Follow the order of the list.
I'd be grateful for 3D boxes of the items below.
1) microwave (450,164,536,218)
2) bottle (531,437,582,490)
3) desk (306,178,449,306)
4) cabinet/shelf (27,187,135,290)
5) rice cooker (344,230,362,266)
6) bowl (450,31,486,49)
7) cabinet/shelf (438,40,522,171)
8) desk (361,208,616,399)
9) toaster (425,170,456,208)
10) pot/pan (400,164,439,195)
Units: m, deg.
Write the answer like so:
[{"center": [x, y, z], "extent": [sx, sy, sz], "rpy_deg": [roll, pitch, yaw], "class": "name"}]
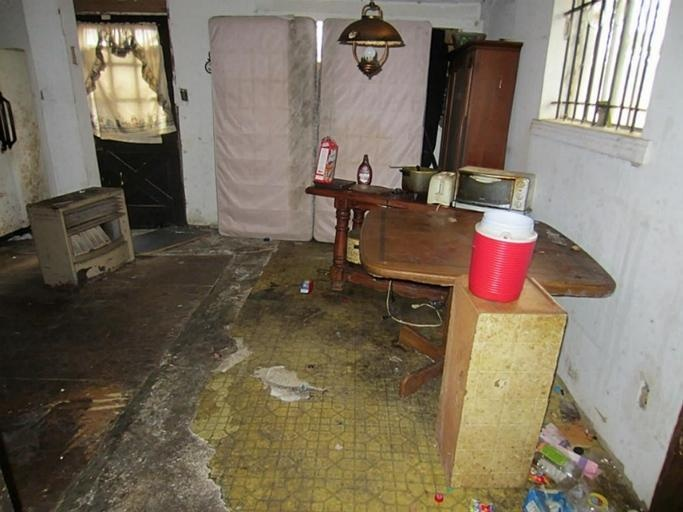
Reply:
[{"center": [1.314, -0.567, 4.180], "extent": [0.608, 0.373, 0.398], "rpy_deg": [15, 27, 29], "class": "microwave"}, {"center": [1.367, 1.372, 3.071], "extent": [0.244, 0.060, 0.184], "rpy_deg": [32, 55, 27], "class": "bottle"}, {"center": [0.085, -0.179, 5.475], "extent": [0.843, 1.160, 1.904], "rpy_deg": [-10, 0, 30], "class": "desk"}, {"center": [-2.798, -0.143, 5.143], "extent": [0.516, 0.961, 0.963], "rpy_deg": [-2, 19, 7], "class": "cabinet/shelf"}, {"center": [0.115, -0.070, 4.828], "extent": [0.264, 0.265, 0.267], "rpy_deg": [0, 25, -5], "class": "rice cooker"}, {"center": [1.340, -2.353, 5.160], "extent": [0.334, 0.137, 0.380], "rpy_deg": [10, 26, 22], "class": "bowl"}, {"center": [1.452, -1.527, 4.896], "extent": [0.512, 1.472, 1.458], "rpy_deg": [4, 18, 8], "class": "cabinet/shelf"}, {"center": [0.928, 0.255, 3.841], "extent": [1.456, 1.019, 1.417], "rpy_deg": [6, 49, 1], "class": "desk"}, {"center": [0.925, -0.604, 4.507], "extent": [0.330, 0.270, 0.398], "rpy_deg": [9, 8, 8], "class": "toaster"}, {"center": [0.746, -0.726, 4.707], "extent": [0.263, 0.205, 0.388], "rpy_deg": [10, 19, 35], "class": "pot/pan"}]
